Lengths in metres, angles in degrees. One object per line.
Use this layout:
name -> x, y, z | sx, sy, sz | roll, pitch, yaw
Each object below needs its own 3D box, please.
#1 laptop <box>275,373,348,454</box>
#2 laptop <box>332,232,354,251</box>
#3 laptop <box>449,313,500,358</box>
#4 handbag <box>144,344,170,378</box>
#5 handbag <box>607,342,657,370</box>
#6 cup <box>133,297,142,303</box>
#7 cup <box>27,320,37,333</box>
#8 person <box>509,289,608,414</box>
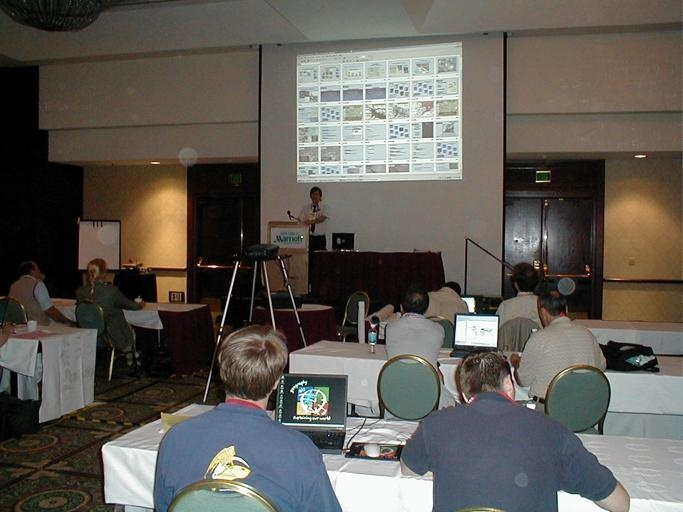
laptop -> -0.168, 0.860, 3.147 | 0.422, 0.347, 0.365 | 1, -2, 6
laptop -> 0.024, -0.232, 8.654 | 0.275, 0.283, 0.067 | 0, 1, 21
laptop -> 1.174, 0.674, 4.880 | 0.501, 0.453, 0.433 | 3, 8, 15
handbag -> -2.381, 1.371, 7.107 | 0.089, 0.400, 0.370 | -11, 17, -40
handbag -> 2.243, 0.788, 4.265 | 0.238, 0.095, 0.252 | 2, 1, 10
cup -> -2.518, 0.551, 6.779 | 0.085, 0.072, 0.081 | 1, 6, 0
cup -> -2.970, 0.669, 5.247 | 0.079, 0.129, 0.131 | 2, 6, -6
person -> 1.637, 0.738, 4.213 | 0.627, 0.880, 0.511 | -12, 16, 9
